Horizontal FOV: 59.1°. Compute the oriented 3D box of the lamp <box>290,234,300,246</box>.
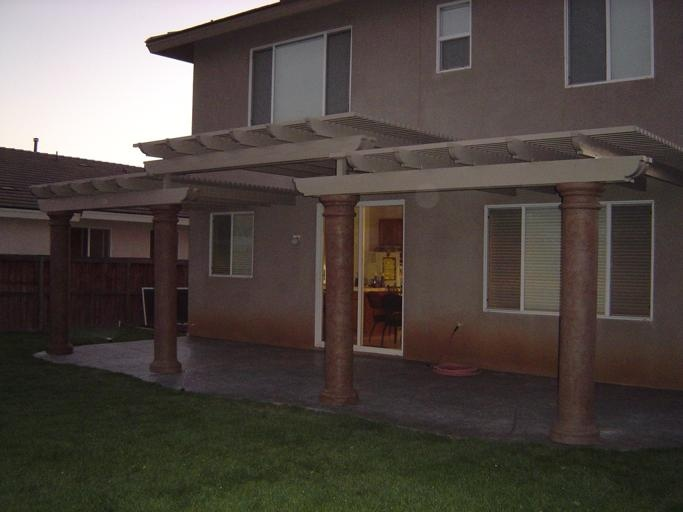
[{"bbox_3d":[-1.094,-0.386,14.199,0.269,0.268,0.094,1,1,41],"label":"lamp"}]

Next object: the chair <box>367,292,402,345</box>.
[{"bbox_3d":[0.947,1.441,13.719,0.984,1.411,1.015,1,-6,-15],"label":"chair"}]
